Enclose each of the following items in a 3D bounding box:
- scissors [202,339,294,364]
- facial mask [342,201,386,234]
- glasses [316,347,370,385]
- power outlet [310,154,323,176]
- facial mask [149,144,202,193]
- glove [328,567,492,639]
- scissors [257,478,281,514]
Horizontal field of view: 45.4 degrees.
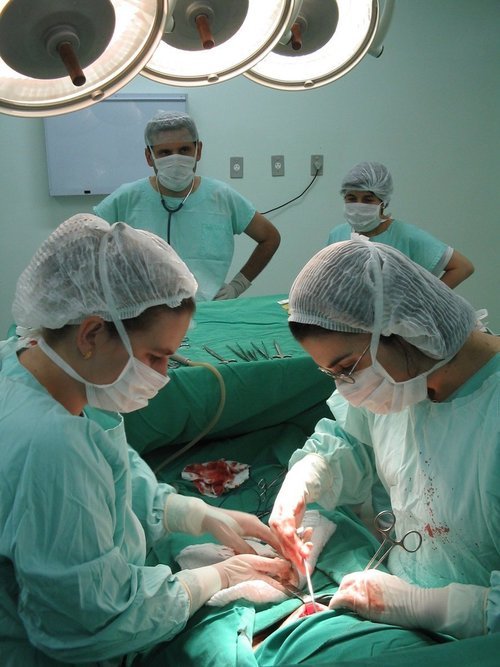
[{"bbox_3d":[0.010,0.077,2.243,0.110,0.032,0.340,-25,18,-30],"label":"scissors"},{"bbox_3d":[0.582,-0.601,3.058,0.202,0.121,0.213,6,23,22],"label":"facial mask"},{"bbox_3d":[0.215,0.084,1.303,0.095,0.029,0.090,-33,12,-21],"label":"glasses"},{"bbox_3d":[0.499,-1.252,4.440,0.120,0.157,0.043,-15,1,-16],"label":"power outlet"},{"bbox_3d":[-0.346,-0.776,2.845,0.179,0.110,0.168,-2,46,-7],"label":"facial mask"},{"bbox_3d":[0.322,0.539,1.208,0.234,0.074,0.117,-6,46,38],"label":"glove"},{"bbox_3d":[0.051,0.483,1.803,0.089,0.073,0.021,10,-34,8],"label":"scissors"}]
